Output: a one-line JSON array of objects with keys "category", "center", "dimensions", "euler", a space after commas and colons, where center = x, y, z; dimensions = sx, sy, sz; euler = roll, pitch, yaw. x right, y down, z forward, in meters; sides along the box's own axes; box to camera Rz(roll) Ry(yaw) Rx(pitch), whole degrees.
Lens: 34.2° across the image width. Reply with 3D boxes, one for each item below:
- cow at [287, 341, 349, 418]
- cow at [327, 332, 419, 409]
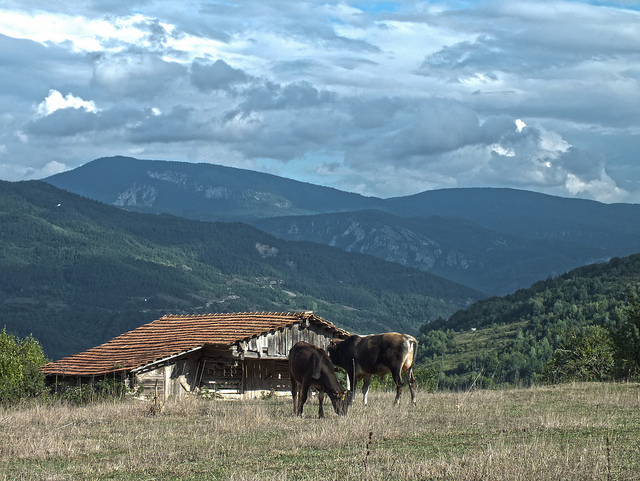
[{"category": "cow", "center": [-0.235, 7.827, 59.132], "dimensions": [1.702, 4.033, 4.471], "euler": [2, -3, -38]}, {"category": "cow", "center": [3.755, 7.349, 63.820], "dimensions": [4.433, 5.365, 3.888], "euler": [-1, -4, -40]}]
